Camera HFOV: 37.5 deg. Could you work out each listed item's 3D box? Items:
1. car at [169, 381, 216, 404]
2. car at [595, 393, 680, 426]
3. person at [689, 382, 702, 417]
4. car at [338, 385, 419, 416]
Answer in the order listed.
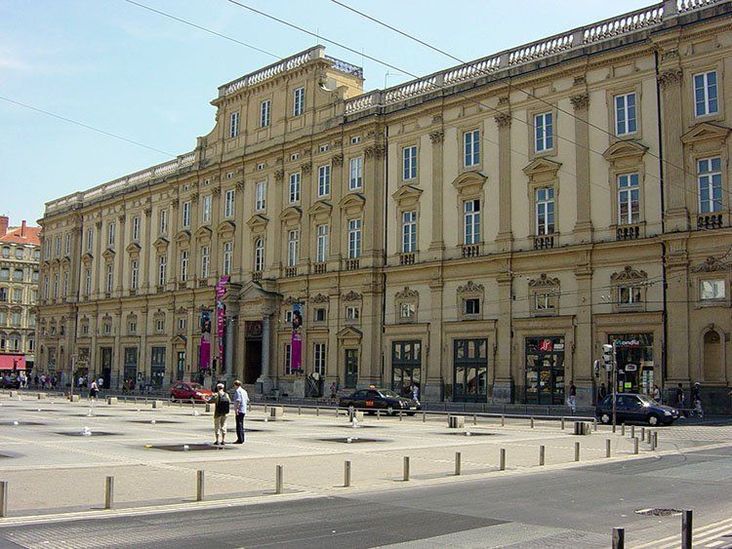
[{"bbox_3d":[-12.931,8.820,80.781,3.003,1.064,1.656,-12,-15,44],"label":"car"},{"bbox_3d":[14.772,7.497,59.843,1.798,1.855,4.601,9,-14,-38],"label":"car"},{"bbox_3d":[19.019,7.193,62.185,0.654,2.041,0.988,-4,-12,16],"label":"person"},{"bbox_3d":[0.803,8.015,67.787,4.551,1.849,2.170,-2,-11,9],"label":"car"}]
